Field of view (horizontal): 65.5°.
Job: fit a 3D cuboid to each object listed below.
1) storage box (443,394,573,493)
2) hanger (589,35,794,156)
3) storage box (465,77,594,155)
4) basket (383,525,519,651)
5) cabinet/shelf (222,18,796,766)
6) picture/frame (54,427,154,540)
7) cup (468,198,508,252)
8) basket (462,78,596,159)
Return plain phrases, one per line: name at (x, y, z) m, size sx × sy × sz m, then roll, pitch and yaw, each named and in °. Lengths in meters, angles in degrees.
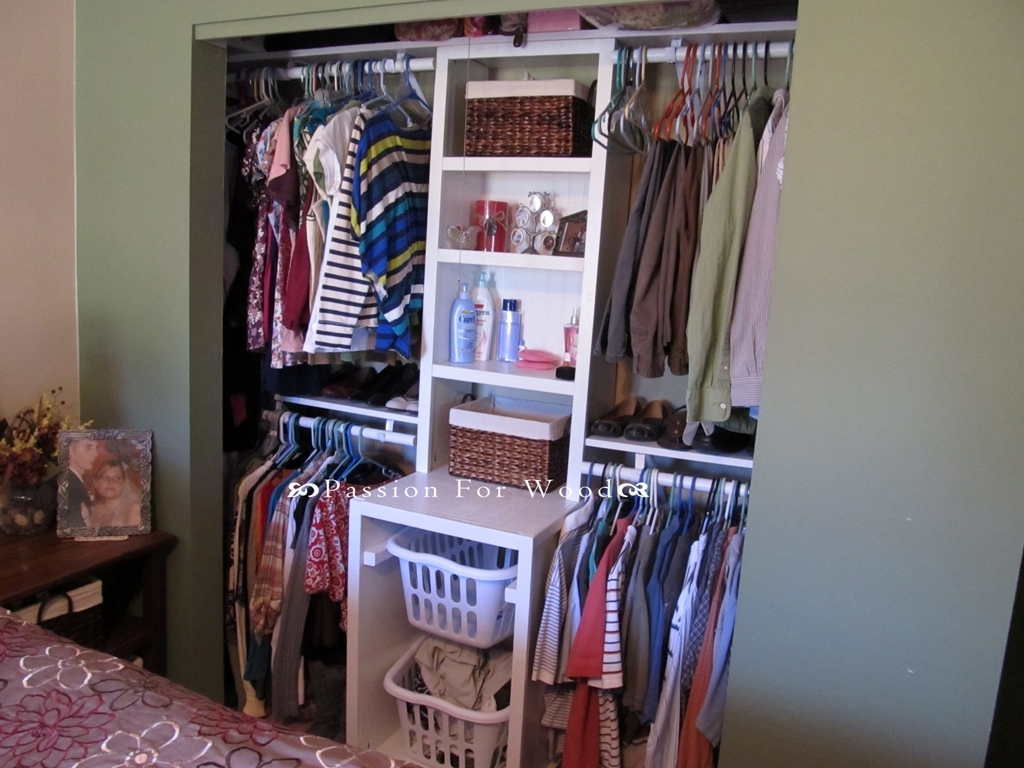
storage box at (0.001, 0.224, 2.833) m, size 0.394 × 0.237 × 0.306 m, roll 6°, pitch 8°, yaw 18°
hanger at (0.557, -0.849, 2.494) m, size 0.496 × 0.214 × 0.354 m, roll 8°, pitch 18°, yaw 31°
storage box at (0.044, -0.870, 2.598) m, size 0.305 × 0.210 × 0.311 m, roll 4°, pitch 14°, yaw 14°
basket at (-0.200, 0.681, 2.642) m, size 0.494 × 0.347 × 0.374 m, roll 4°, pitch 0°, yaw 20°
cabinet/shelf at (0.022, 0.000, 2.547) m, size 2.073 × 2.192 × 0.704 m, roll 7°, pitch 8°, yaw 28°
picture/frame at (-1.372, 0.325, 2.665) m, size 0.291 × 0.407 × 0.033 m, roll 4°, pitch -34°, yaw -33°
cup at (-0.076, -0.545, 2.806) m, size 0.161 × 0.199 × 0.170 m, roll 0°, pitch 1°, yaw 0°
basket at (0.045, -0.861, 2.601) m, size 0.306 × 0.216 × 0.317 m, roll 4°, pitch 13°, yaw 15°
